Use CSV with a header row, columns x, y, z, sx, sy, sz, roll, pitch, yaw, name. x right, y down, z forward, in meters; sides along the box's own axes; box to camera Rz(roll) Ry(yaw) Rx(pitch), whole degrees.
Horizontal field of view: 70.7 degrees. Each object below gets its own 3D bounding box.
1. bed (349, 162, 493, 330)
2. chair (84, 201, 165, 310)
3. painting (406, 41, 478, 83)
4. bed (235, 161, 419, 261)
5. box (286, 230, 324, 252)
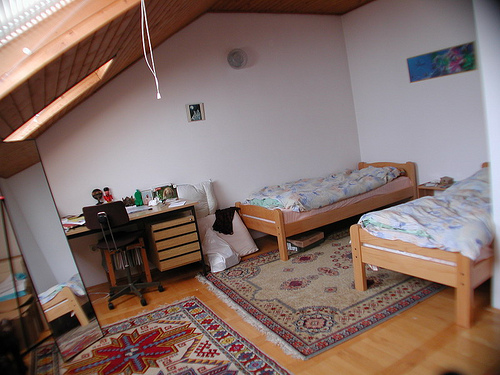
x,y,z,sx,sy,sz,roll,pitch,yaw,name
1.687,0.354,3.143,0.947,0.703,1.663,6,17,44,bed
-1.350,0.681,3.757,0.567,0.764,0.486,-12,10,-2,chair
2.530,-1.640,4.675,0.090,0.368,0.904,-18,12,-30,painting
1.155,0.186,5.100,2.345,0.752,1.180,-13,10,-25,bed
0.700,0.686,4.526,0.442,0.158,0.268,-16,11,-32,box
